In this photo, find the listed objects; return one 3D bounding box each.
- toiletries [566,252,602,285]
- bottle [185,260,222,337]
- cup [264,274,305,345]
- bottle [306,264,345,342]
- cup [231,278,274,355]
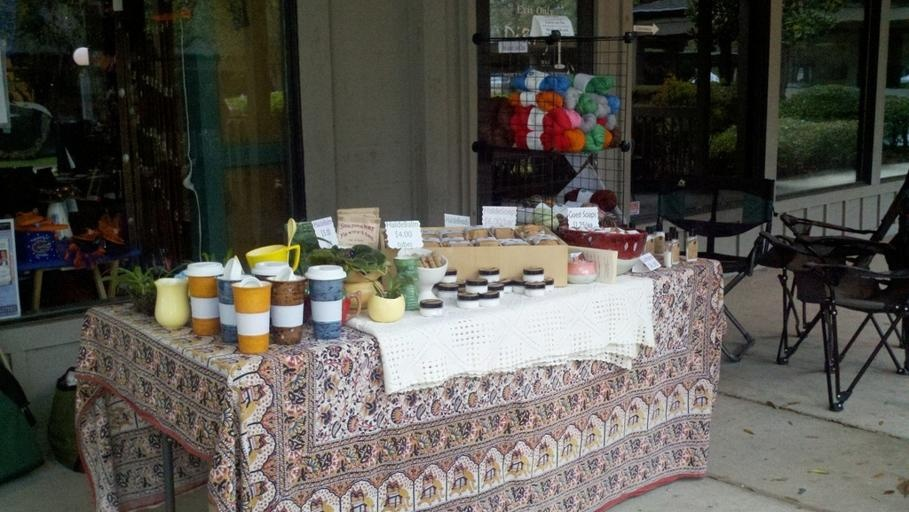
[{"bbox_3d":[0.851,0.089,5.053,0.207,0.182,0.199,-1,-1,-6],"label":"toiletries"},{"bbox_3d":[-1.425,0.264,4.485,0.271,0.350,0.248,0,-1,0],"label":"bottle"},{"bbox_3d":[-0.938,0.299,4.292,0.166,0.417,0.161,0,1,0],"label":"cup"},{"bbox_3d":[-0.743,0.265,4.419,0.193,0.435,0.207,1,0,0],"label":"bottle"},{"bbox_3d":[-1.109,0.333,4.217,0.263,0.364,0.335,-1,6,-8],"label":"cup"}]
